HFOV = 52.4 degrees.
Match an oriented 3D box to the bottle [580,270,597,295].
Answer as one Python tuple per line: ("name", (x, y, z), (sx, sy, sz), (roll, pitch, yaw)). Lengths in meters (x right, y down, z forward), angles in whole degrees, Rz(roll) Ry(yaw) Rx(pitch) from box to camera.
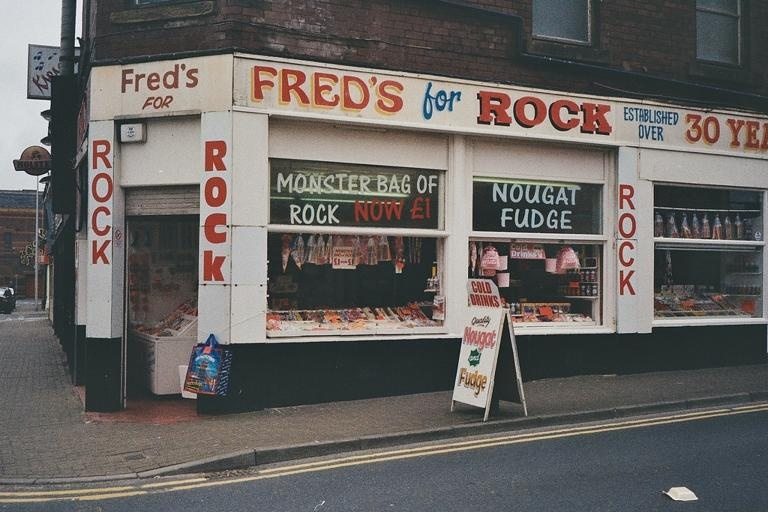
("bottle", (4.589, 0.584, 17.502), (0.385, 0.539, 0.208), (2, 14, 8))
